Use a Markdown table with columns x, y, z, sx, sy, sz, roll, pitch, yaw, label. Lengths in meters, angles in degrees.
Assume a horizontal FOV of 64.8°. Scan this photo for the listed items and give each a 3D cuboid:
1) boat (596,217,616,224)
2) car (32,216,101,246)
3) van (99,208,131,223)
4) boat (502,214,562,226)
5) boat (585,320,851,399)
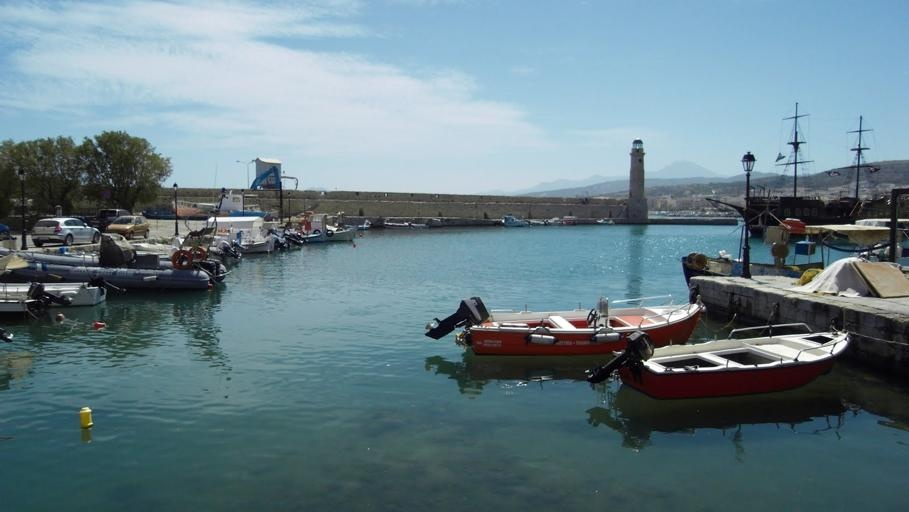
| x | y | z | sx | sy | sz | roll | pitch | yaw | label |
| --- | --- | --- | --- | --- | --- | --- | --- | --- | --- |
| 27.463 | -6.201 | 129.482 | 2.926 | 0.972 | 1.611 | -1 | 9 | -1 | boat |
| -23.656 | -1.505 | 44.310 | 2.280 | 1.348 | 4.444 | 2 | 5 | 4 | car |
| -23.718 | -2.890 | 49.631 | 1.206 | 0.867 | 1.813 | 4 | 18 | 9 | van |
| 13.019 | -6.127 | 122.445 | 11.499 | 2.120 | 2.580 | -2 | 18 | -15 | boat |
| 10.493 | 3.941 | 27.451 | 10.248 | 1.853 | 3.053 | -3 | 12 | -1 | boat |
